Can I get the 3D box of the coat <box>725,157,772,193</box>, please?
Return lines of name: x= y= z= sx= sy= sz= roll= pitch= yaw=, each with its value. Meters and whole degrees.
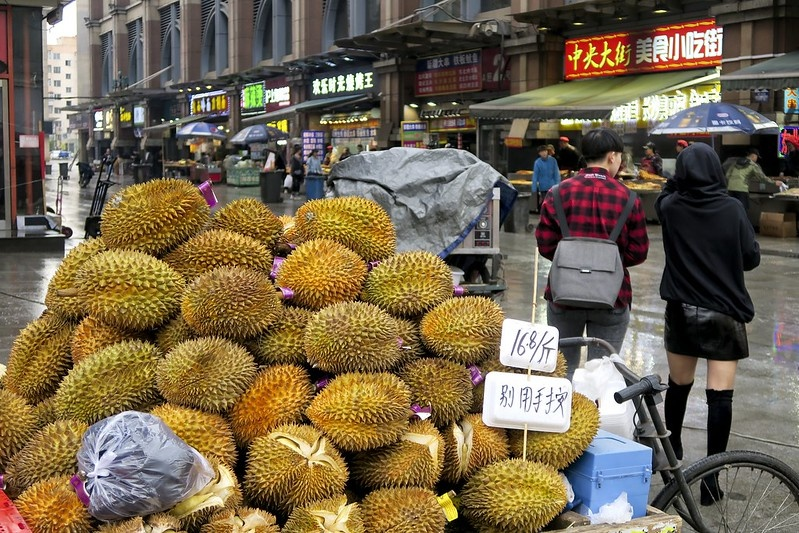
coat: x=6.179 y=-1.609 z=14.505 sx=0.509 sy=0.625 sz=0.858 roll=8 pitch=6 yaw=-32

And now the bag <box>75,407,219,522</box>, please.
bag: x=-0.997 y=0.776 z=3.215 sx=0.454 sy=0.369 sz=0.245 roll=7 pitch=-27 yaw=-14

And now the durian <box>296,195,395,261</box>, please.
durian: x=-0.289 y=-0.226 z=4.367 sx=0.429 sy=0.265 sz=0.338 roll=13 pitch=38 yaw=17

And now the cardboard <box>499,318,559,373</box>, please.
cardboard: x=0.596 y=0.359 z=3.760 sx=0.280 sy=0.228 sz=0.067 roll=7 pitch=-2 yaw=-8

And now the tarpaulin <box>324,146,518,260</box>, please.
tarpaulin: x=0.245 y=-0.758 z=8.346 sx=1.341 sy=0.772 sz=1.397 roll=3 pitch=8 yaw=11

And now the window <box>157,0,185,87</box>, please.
window: x=-12.706 y=-12.449 z=45.525 sx=0.469 sy=6.628 sz=5.498 roll=0 pitch=2 yaw=-24

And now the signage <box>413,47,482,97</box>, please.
signage: x=1.493 y=-5.791 z=24.833 sx=0.399 sy=1.213 sz=3.290 roll=-9 pitch=13 yaw=-28

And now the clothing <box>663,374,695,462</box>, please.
clothing: x=1.771 y=0.974 z=5.163 sx=0.158 sy=0.533 sz=0.185 roll=-1 pitch=-19 yaw=2

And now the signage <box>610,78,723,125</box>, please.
signage: x=5.787 y=-3.537 z=17.972 sx=0.422 sy=0.813 sz=2.632 roll=-9 pitch=13 yaw=-31

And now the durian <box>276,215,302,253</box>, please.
durian: x=-0.597 y=-0.164 z=4.401 sx=0.134 sy=0.204 sz=0.110 roll=-5 pitch=-21 yaw=-9

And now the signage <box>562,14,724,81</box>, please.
signage: x=5.534 y=-4.896 z=18.753 sx=0.293 sy=1.061 sz=4.435 roll=-10 pitch=14 yaw=-32
